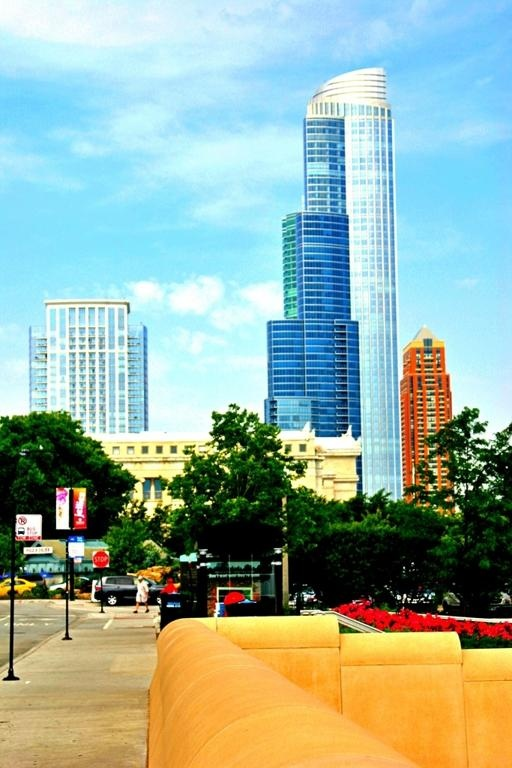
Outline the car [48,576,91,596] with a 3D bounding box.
[{"bbox_3d":[-8.608,9.385,63.673,1.594,0.748,0.953,4,-12,-6],"label":"car"}]
